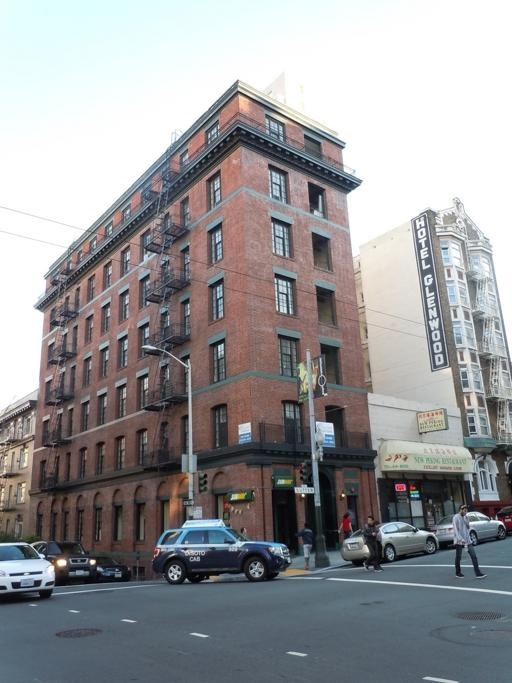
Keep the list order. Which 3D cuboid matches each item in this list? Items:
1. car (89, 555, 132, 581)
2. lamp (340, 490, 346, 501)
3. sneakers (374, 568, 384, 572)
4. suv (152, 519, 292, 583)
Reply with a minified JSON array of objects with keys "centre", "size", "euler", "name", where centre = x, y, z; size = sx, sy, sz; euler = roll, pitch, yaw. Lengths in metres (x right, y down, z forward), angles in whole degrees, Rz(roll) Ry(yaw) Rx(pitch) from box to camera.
[{"centre":[-6.997,10.697,25.470],"size":[1.195,0.823,2.618],"euler":[12,-27,-33],"name":"car"},{"centre":[4.762,8.405,29.719],"size":[0.429,0.494,0.143],"euler":[10,-25,-37],"name":"lamp"},{"centre":[3.857,7.138,16.971],"size":[0.142,0.155,0.374],"euler":[6,-20,-25],"name":"sneakers"},{"centre":[-1.024,6.811,17.768],"size":[4.434,1.840,1.898],"euler":[-10,-21,18],"name":"suv"}]
